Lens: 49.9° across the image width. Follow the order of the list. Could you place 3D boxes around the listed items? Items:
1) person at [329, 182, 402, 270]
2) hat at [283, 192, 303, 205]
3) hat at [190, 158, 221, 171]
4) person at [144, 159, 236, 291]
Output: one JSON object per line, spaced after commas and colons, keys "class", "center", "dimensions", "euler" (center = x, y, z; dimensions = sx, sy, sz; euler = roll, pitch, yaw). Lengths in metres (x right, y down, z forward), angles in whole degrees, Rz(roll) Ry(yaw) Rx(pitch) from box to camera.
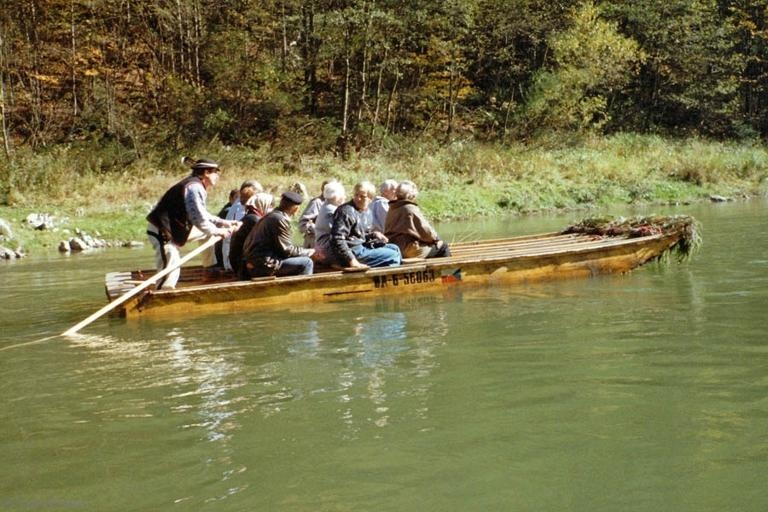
{"class": "person", "center": [-0.304, -0.515, 13.894], "dimensions": [0.778, 1.456, 1.100], "euler": [-2, 6, 23]}
{"class": "hat", "center": [-1.438, -0.920, 13.168], "dimensions": [0.340, 0.224, 0.389], "euler": [-4, 4, -6]}
{"class": "hat", "center": [-2.867, -1.469, 13.324], "dimensions": [0.394, 0.199, 0.385], "euler": [-4, 4, -15]}
{"class": "person", "center": [-3.133, -0.521, 13.377], "dimensions": [1.335, 2.067, 0.722], "euler": [-5, 6, -5]}
